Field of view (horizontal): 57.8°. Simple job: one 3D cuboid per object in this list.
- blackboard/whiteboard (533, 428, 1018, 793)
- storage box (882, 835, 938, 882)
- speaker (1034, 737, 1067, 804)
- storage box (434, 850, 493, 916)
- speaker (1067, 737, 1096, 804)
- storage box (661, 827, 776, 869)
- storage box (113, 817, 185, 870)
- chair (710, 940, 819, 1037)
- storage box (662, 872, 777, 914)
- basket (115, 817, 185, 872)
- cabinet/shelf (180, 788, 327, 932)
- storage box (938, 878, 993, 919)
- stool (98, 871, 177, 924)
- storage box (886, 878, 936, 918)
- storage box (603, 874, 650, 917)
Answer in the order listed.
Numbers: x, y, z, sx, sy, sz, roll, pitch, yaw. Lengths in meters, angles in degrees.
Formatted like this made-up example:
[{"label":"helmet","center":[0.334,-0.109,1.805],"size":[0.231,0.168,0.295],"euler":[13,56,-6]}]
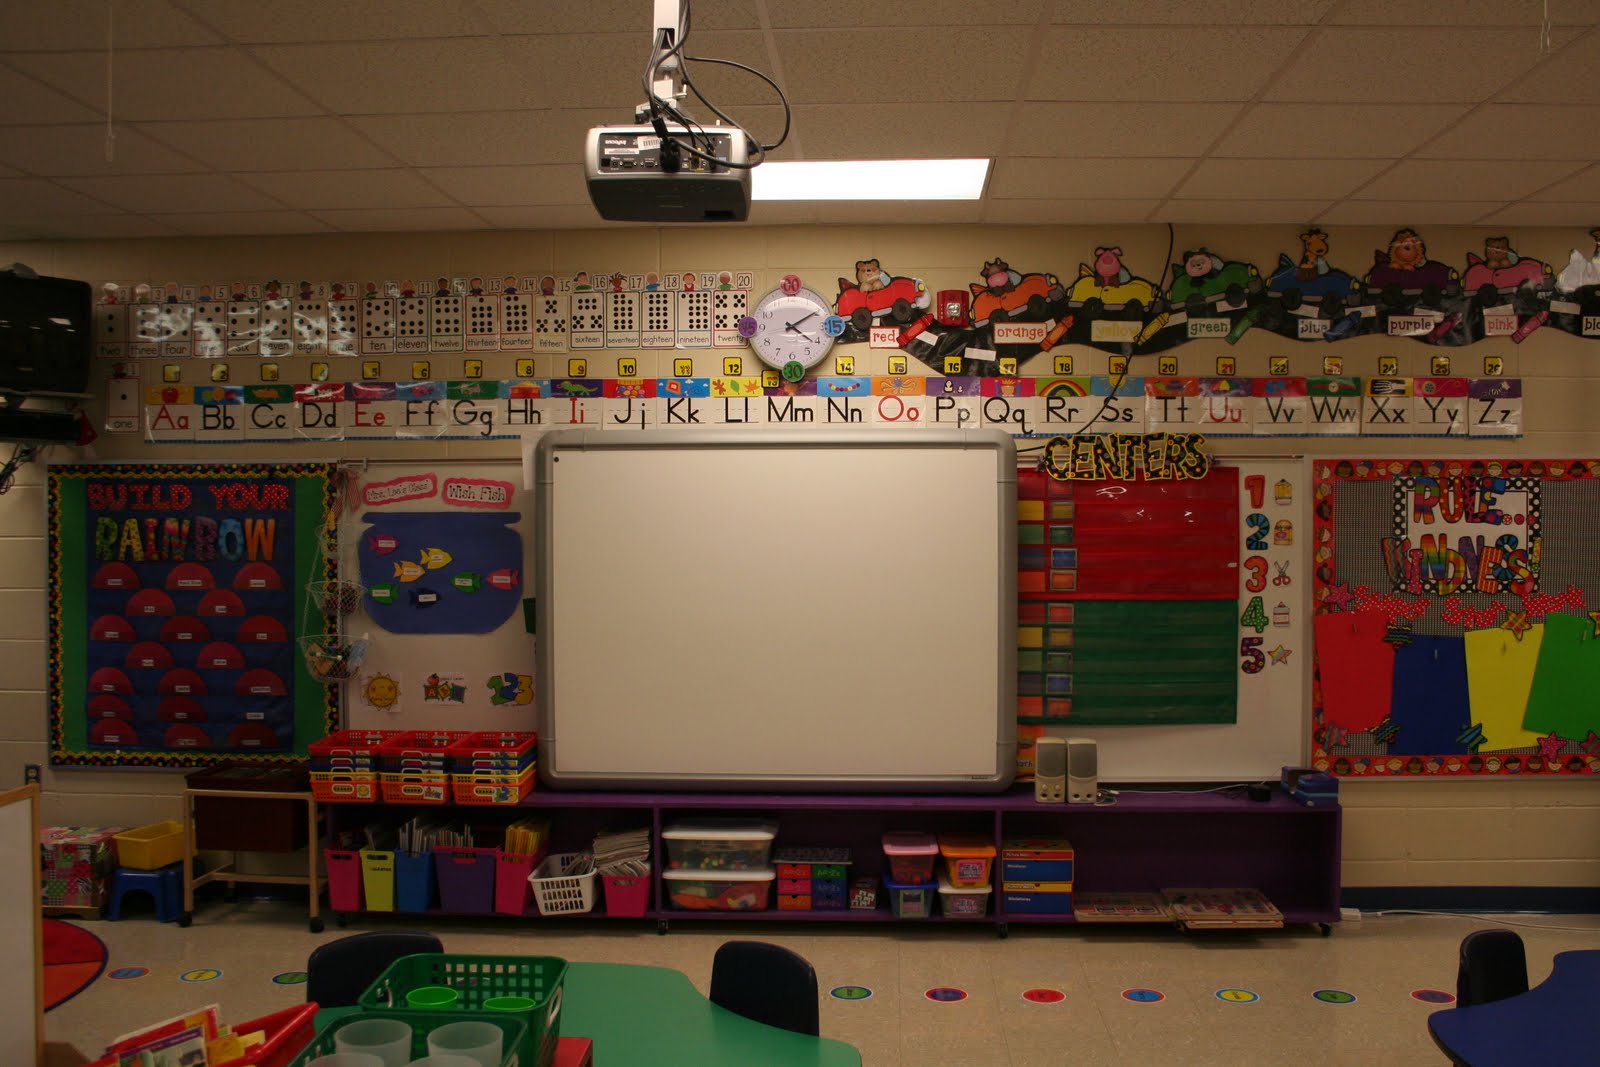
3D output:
[{"label":"blackboard/whiteboard","center":[-0.055,0.405,8.274],"size":[2.276,1.465,0.221],"euler":[0,1,2]},{"label":"storage box","center":[0.625,1.848,8.205],"size":[0.252,0.158,0.299],"euler":[-1,0,-1]},{"label":"speaker","center":[1.418,1.336,8.222],"size":[0.176,0.333,0.124],"euler":[-1,-2,8]},{"label":"storage box","center":[-1.910,1.975,8.238],"size":[0.330,0.257,0.368],"euler":[0,0,-1]},{"label":"speaker","center":[1.592,1.341,8.188],"size":[0.144,0.347,0.133],"euler":[-2,-2,30]},{"label":"storage box","center":[-0.462,1.781,8.214],"size":[0.449,0.146,0.289],"euler":[0,-5,2]},{"label":"storage box","center":[-3.817,1.832,8.572],"size":[0.271,0.146,0.367],"euler":[0,-4,2]},{"label":"chair","center":[-0.141,1.985,6.546],"size":[0.414,0.654,0.438],"euler":[0,-3,14]},{"label":"storage box","center":[-0.468,2.031,8.211],"size":[0.440,0.134,0.296],"euler":[0,-5,2]},{"label":"basket","center":[-3.775,1.827,8.539],"size":[0.529,0.249,0.277],"euler":[-1,-2,14]},{"label":"cabinet/shelf","center":[-3.062,1.806,8.373],"size":[0.738,0.728,0.811],"euler":[4,-23,-26]},{"label":"storage box","center":[0.922,2.079,8.246],"size":[0.198,0.118,0.238],"euler":[1,-6,-3]},{"label":"stool","center":[-3.832,2.091,8.491],"size":[0.483,0.293,0.219],"euler":[-1,-2,13]},{"label":"storage box","center":[0.623,2.073,8.220],"size":[0.234,0.132,0.182],"euler":[1,-1,-5]},{"label":"storage box","center":[-0.992,2.044,8.199],"size":[0.208,0.174,0.271],"euler":[0,-7,-1]}]
